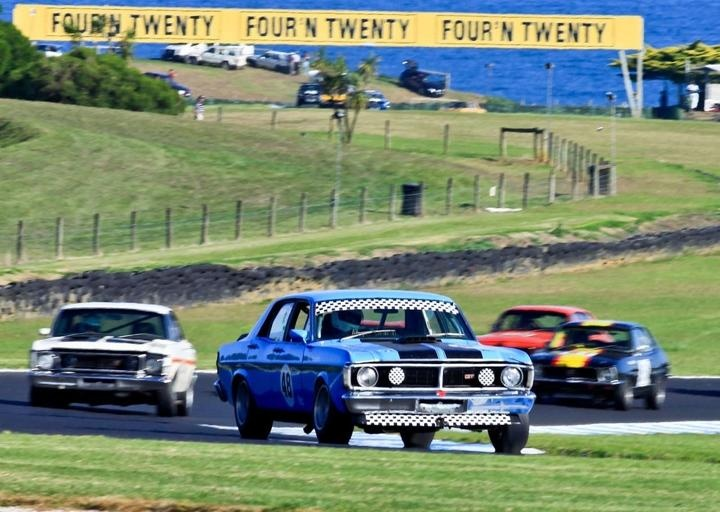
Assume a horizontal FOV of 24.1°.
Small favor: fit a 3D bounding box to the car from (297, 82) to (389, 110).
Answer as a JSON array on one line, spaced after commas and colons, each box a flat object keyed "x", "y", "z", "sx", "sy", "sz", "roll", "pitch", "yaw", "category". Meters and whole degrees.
[{"x": -1.311, "y": -11.027, "z": 120.320, "sx": 6.185, "sy": 1.349, "sz": 3.096, "roll": -2, "pitch": 7, "yaw": -14, "category": "car"}]

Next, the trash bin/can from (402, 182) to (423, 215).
[{"x": 2.380, "y": -2.694, "z": 82.327, "sx": 1.384, "sy": 1.555, "sz": 0.996, "roll": 2, "pitch": 5, "yaw": 25, "category": "trash bin/can"}]

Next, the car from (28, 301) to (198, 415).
[{"x": -7.299, "y": 2.984, "z": 50.862, "sx": 4.170, "sy": 2.668, "sz": 8.682, "roll": 0, "pitch": 0, "yaw": -6, "category": "car"}]

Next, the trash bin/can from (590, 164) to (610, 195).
[{"x": 11.763, "y": -3.755, "z": 84.105, "sx": 1.116, "sy": 1.535, "sz": 0.985, "roll": 1, "pitch": 5, "yaw": 15, "category": "trash bin/can"}]

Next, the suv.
[{"x": -9.704, "y": -14.781, "z": 127.329, "sx": 9.987, "sy": 2.168, "sz": 2.664, "roll": 1, "pitch": 4, "yaw": 7, "category": "suv"}]
